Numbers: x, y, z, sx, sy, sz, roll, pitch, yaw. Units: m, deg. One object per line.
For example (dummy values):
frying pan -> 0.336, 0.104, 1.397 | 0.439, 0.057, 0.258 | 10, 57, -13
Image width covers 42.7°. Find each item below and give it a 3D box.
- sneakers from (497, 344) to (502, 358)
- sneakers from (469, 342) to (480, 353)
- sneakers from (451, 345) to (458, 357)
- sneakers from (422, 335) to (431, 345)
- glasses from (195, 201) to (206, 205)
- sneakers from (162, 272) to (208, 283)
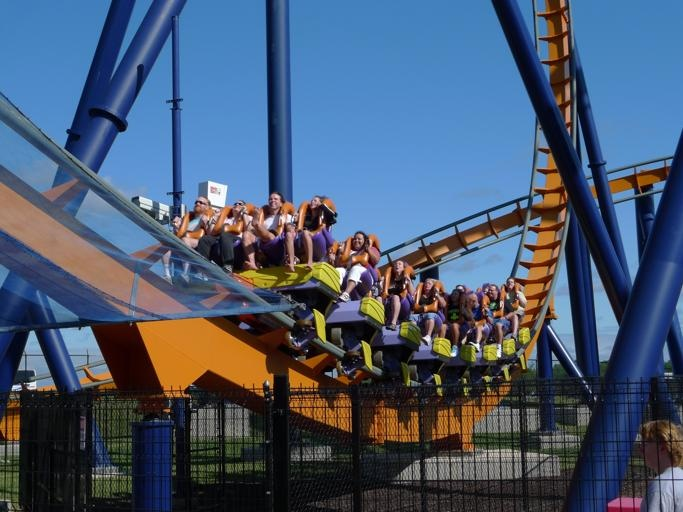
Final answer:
sneakers -> 2.965, 1.788, 16.325 | 0.086, 0.255, 0.422 | -3, -17, 10
sneakers -> 2.405, 1.638, 15.743 | 0.128, 0.174, 0.417 | -7, -18, 21
sneakers -> 2.019, 1.697, 15.573 | 0.090, 0.130, 0.289 | -3, -15, 15
sneakers -> 1.474, 1.443, 14.826 | 0.081, 0.177, 0.333 | -8, -19, 26
glasses -> -1.940, -0.716, 12.039 | 0.139, 0.067, 0.079 | 4, -17, -14
sneakers -> -1.346, 0.189, 7.568 | 0.421, 0.110, 0.042 | 10, -19, -31
